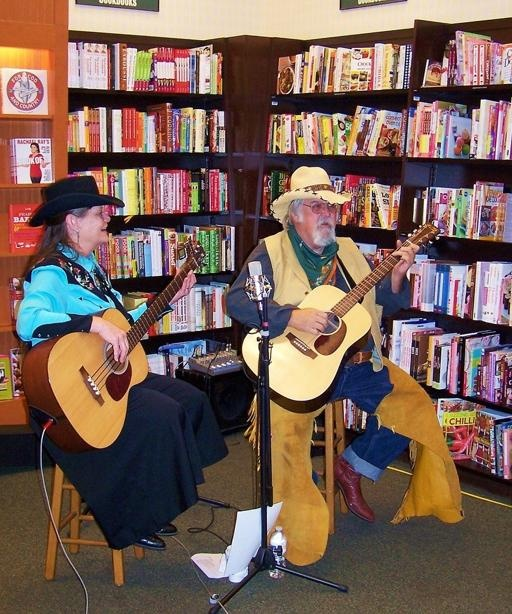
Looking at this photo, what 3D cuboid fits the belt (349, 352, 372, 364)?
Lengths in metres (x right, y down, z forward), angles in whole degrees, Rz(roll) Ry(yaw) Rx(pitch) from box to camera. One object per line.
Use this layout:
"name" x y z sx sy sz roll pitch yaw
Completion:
"belt" 0.436 0.211 2.330 0.075 0.027 0.054 -23 -1 -9

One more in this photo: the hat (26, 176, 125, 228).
"hat" -0.654 -0.371 2.016 0.278 0.104 0.220 -20 2 -20

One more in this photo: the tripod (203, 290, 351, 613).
"tripod" 0.065 0.467 1.792 0.361 1.036 0.433 4 6 33

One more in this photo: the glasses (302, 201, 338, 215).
"glasses" 0.267 -0.407 2.312 0.142 0.052 0.066 0 5 -5

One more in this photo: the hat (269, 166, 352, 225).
"hat" 0.218 -0.479 2.334 0.242 0.125 0.268 1 -5 -35

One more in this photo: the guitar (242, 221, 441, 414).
"guitar" 0.348 0.010 2.095 0.945 0.363 0.127 -41 -18 -27

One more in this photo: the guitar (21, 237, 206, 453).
"guitar" -0.399 0.125 1.811 0.122 0.338 0.785 -15 30 41
